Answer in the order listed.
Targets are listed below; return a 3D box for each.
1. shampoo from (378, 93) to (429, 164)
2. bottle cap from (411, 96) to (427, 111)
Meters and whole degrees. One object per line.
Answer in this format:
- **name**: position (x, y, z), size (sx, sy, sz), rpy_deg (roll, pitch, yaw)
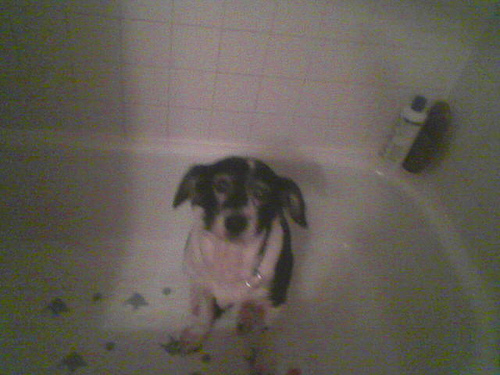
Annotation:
- **shampoo**: position (0.719, -0.262, 2.312), size (0.187, 0.315, 0.078), rpy_deg (28, 34, 2)
- **bottle cap**: position (0.765, -0.377, 2.259), size (0.084, 0.018, 0.053), rpy_deg (-2, 98, -2)
